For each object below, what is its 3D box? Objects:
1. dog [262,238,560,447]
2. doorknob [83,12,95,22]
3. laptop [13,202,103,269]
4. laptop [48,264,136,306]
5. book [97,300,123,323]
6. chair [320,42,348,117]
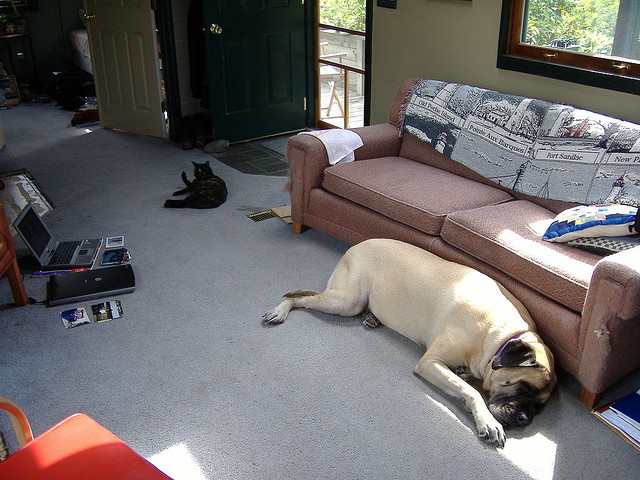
[{"bbox_3d":[0.418,0.361,2.463,1.425,0.570,0.759,26,34,31],"label":"dog"},{"bbox_3d":[-2.515,-2.405,5.076,0.175,0.094,0.067,28,38,35],"label":"doorknob"},{"bbox_3d":[-1.758,0.000,3.100,0.460,0.308,0.422,-4,36,-5],"label":"laptop"},{"bbox_3d":[-1.406,0.272,2.909,0.456,0.056,0.240,-10,34,-23],"label":"laptop"},{"bbox_3d":[-1.232,0.410,2.748,0.135,0.015,0.188,-8,32,-20],"label":"book"},{"bbox_3d":[0.156,-1.797,5.192,0.383,0.497,0.669,-5,41,-7],"label":"chair"}]
